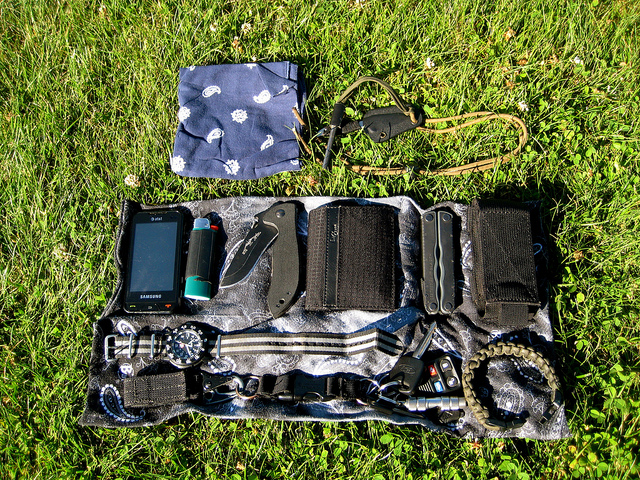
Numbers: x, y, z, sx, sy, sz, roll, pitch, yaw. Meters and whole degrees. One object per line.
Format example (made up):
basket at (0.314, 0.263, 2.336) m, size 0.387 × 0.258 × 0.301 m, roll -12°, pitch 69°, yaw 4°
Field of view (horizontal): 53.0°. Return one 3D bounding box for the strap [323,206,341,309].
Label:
strap at (0.105, 0.142, 5.629) m, size 0.137 × 0.036 × 0.882 m, roll 2°, pitch 81°, yaw 3°

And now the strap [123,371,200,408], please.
strap at (-1.390, 1.331, 5.651) m, size 0.642 × 0.107 × 0.293 m, roll -7°, pitch 80°, yaw 1°

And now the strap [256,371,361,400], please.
strap at (-0.092, 1.280, 5.640) m, size 0.899 × 0.099 × 0.231 m, roll 2°, pitch 81°, yaw 3°
